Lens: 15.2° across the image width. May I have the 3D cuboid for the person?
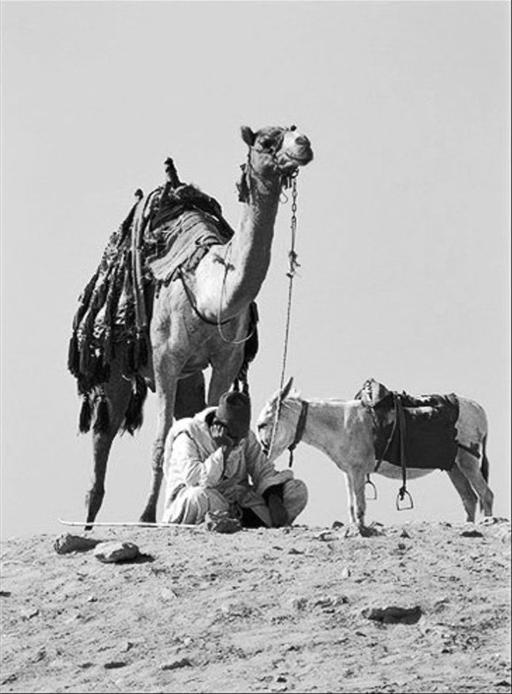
[{"bbox_3d":[-0.187,0.842,13.581,0.821,1.139,0.923,-14,-18,41],"label":"person"}]
